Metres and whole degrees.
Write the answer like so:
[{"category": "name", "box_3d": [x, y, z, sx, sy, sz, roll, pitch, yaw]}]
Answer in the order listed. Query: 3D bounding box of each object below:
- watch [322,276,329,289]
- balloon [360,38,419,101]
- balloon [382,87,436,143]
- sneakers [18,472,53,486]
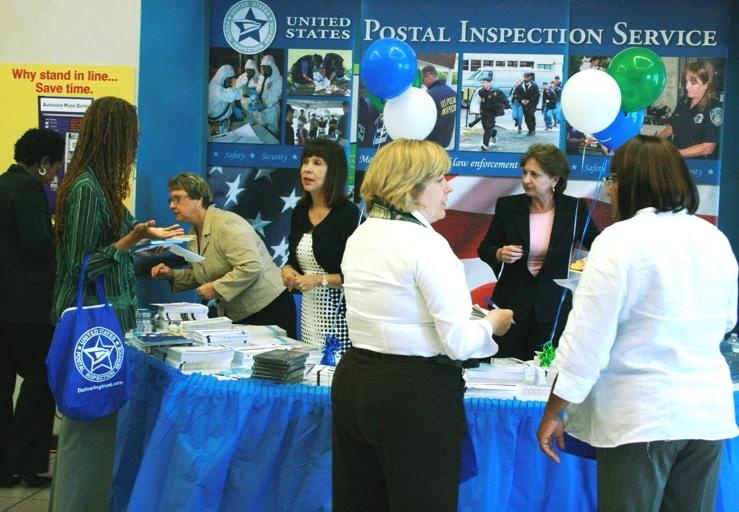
[{"category": "watch", "box_3d": [-0.240, 0.140, 3.841, 0.032, 0.054, 0.049, 0, 9, -3]}, {"category": "balloon", "box_3d": [0.099, -0.917, 3.502, 0.278, 0.340, 0.288, -3, -4, 6]}, {"category": "balloon", "box_3d": [0.227, -0.662, 3.594, 0.309, 0.383, 0.325, 1, 5, 10]}, {"category": "sneakers", "box_3d": [-2.048, 1.359, 4.332, 0.138, 0.052, 0.108, -1, -3, 3]}]
